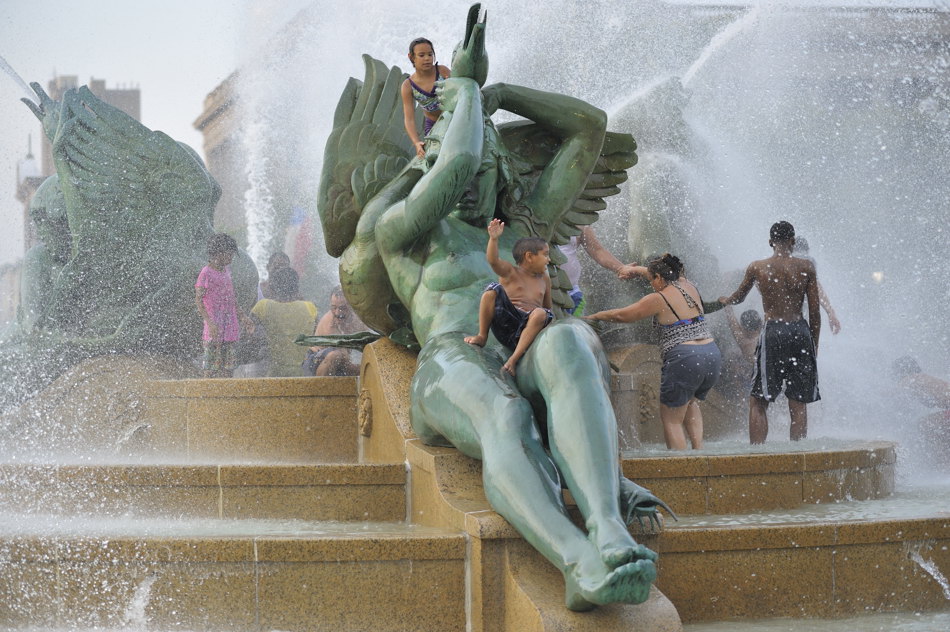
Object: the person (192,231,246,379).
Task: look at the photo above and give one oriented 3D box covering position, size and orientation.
[{"bbox_3d":[-3.395,0.013,23.681,0.613,2.215,0.867,6,42,-7],"label":"person"}]
